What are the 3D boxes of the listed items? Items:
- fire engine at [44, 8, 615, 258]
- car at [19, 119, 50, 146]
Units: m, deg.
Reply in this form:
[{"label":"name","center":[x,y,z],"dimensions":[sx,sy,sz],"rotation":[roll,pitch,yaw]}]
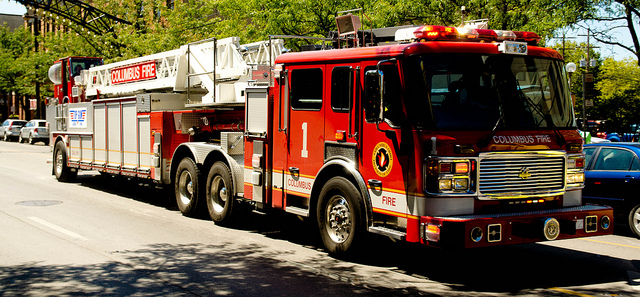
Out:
[{"label":"fire engine","center":[0.098,-1.721,24.085],"dimensions":[23.561,9.217,13.225],"rotation":[2,6,37]},{"label":"car","center":[-25.452,-1.397,48.826],"dimensions":[2.650,2.181,5.281],"rotation":[0,4,-38]}]
